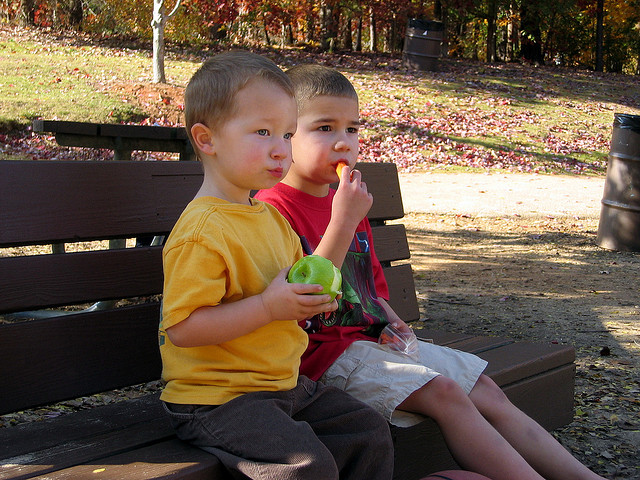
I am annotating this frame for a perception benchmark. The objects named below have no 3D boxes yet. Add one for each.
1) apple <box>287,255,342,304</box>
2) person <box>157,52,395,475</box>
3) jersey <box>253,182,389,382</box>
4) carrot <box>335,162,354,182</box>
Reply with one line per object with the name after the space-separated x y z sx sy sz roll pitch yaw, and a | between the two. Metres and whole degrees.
-0.016 0.121 2.303 0.248 0.161 0.194 5 7 -5 | apple
-0.201 0.066 2.297 0.801 1.488 0.895 -4 15 -16 | person
0.077 0.186 2.954 0.701 0.840 0.760 2 12 -20 | jersey
0.108 -0.311 2.854 0.042 0.049 0.184 23 13 -9 | carrot
